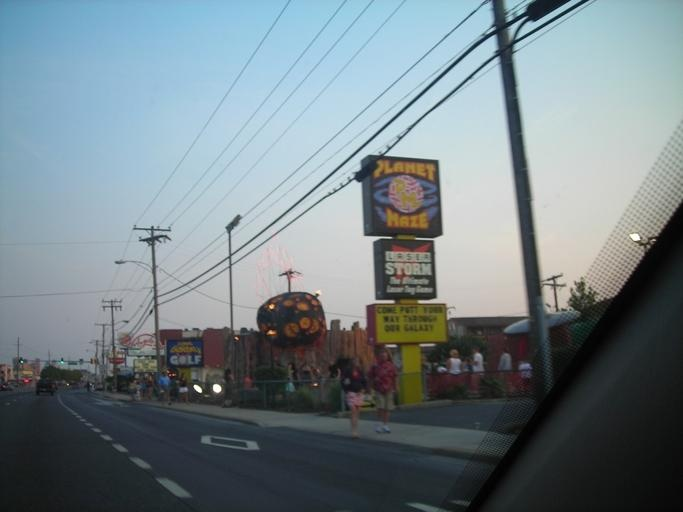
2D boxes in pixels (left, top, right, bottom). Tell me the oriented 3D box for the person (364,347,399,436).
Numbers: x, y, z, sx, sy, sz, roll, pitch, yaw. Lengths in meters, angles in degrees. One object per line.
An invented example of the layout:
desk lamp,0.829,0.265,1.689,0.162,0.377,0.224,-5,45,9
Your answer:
person,0.855,2.686,13.267,0.573,1.701,0.815,-2,-10,3

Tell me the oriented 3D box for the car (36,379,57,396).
car,-25.964,11.399,57.137,1.365,1.125,2.661,1,-6,-16

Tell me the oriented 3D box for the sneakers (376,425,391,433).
sneakers,0.832,3.445,13.030,0.114,0.150,0.353,5,-20,-16
